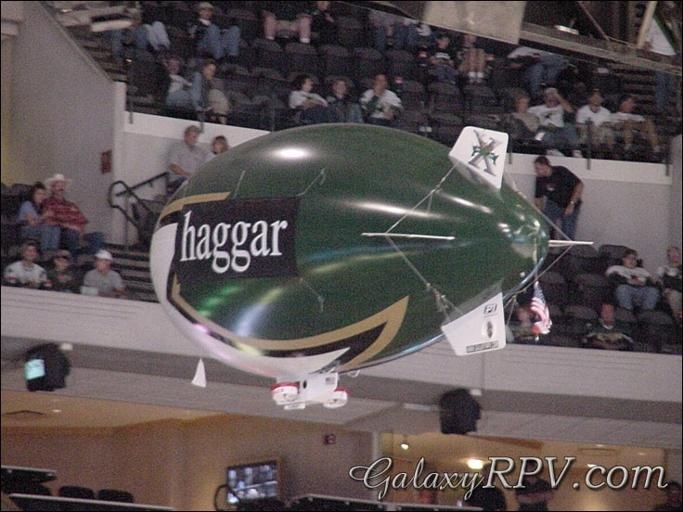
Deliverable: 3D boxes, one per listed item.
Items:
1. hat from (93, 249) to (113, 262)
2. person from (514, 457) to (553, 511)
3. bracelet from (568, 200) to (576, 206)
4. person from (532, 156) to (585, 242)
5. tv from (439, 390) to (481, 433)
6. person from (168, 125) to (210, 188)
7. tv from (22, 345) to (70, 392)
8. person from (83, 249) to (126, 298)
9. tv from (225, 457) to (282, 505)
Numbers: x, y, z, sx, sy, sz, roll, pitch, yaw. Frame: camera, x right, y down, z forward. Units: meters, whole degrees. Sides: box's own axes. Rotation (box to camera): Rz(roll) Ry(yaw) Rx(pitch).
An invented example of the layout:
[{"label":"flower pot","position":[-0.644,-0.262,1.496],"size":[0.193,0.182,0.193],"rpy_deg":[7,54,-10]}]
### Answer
[{"label":"hat","position":[-3.467,0.004,24.767],"size":[0.221,0.106,0.160],"rpy_deg":[22,0,9]},{"label":"person","position":[2.941,3.518,26.068],"size":[0.551,0.762,0.367],"rpy_deg":[2,24,7]},{"label":"bracelet","position":[3.575,-0.816,26.417],"size":[0.096,0.058,0.092],"rpy_deg":[-27,-16,36]},{"label":"person","position":[3.343,-0.893,26.465],"size":[0.732,1.205,0.456],"rpy_deg":[1,24,4]},{"label":"tv","position":[1.778,2.341,25.607],"size":[0.654,0.982,0.449],"rpy_deg":[0,23,2]},{"label":"person","position":[-2.312,-1.491,25.643],"size":[0.728,0.829,0.495],"rpy_deg":[-20,30,-38]},{"label":"tv","position":[-4.198,1.597,24.347],"size":[0.693,0.904,0.357],"rpy_deg":[-5,24,-10]},{"label":"person","position":[-3.454,0.321,24.654],"size":[0.669,0.783,0.565],"rpy_deg":[-3,3,-22]},{"label":"tv","position":[-1.335,3.553,26.580],"size":[1.228,0.910,0.609],"rpy_deg":[-1,-14,0]}]
